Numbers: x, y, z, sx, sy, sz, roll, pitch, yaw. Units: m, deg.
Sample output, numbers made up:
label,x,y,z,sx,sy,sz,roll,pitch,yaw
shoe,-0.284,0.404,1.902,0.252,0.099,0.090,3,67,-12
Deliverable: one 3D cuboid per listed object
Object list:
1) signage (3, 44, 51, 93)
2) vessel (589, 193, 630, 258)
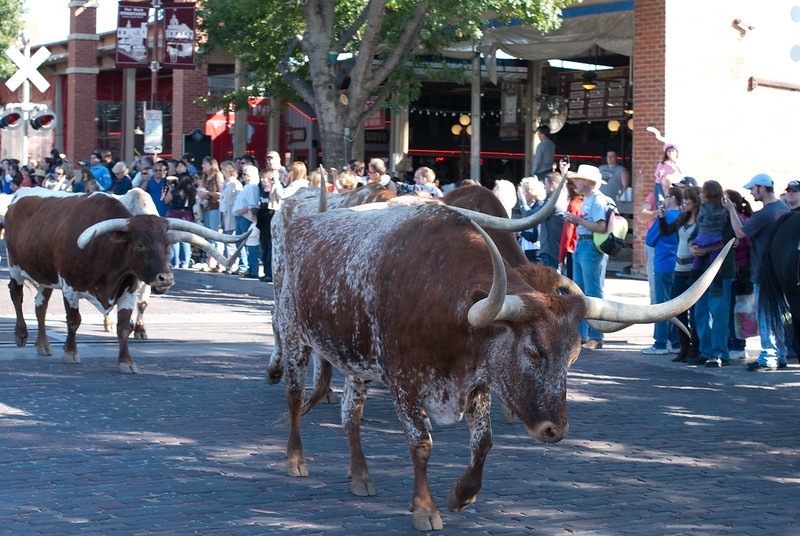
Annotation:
label,x,y,z,sx,sy,sz,roll,pitch,yaw
signage,-9.833,-5.254,30.600,1.007,1.268,2.118,0,3,-19
vessel,3.343,-0.588,18.177,0.472,0.765,0.598,0,-7,34
